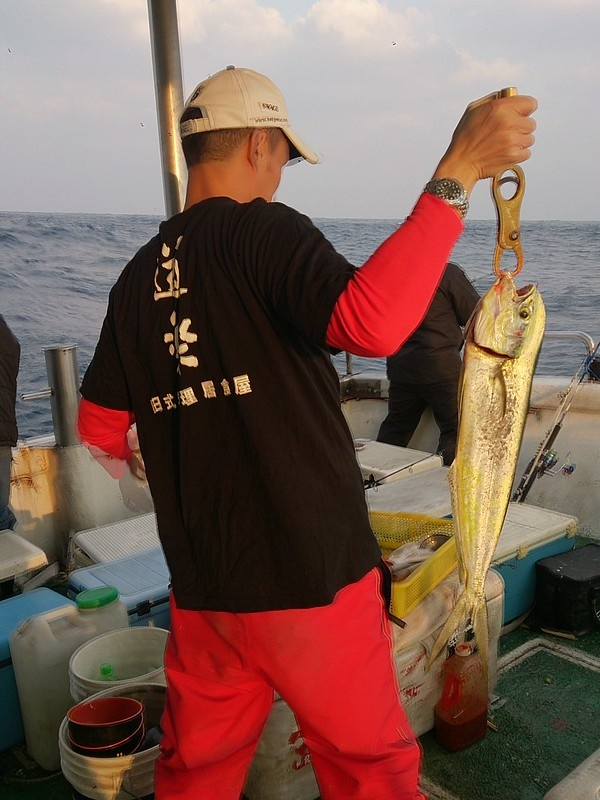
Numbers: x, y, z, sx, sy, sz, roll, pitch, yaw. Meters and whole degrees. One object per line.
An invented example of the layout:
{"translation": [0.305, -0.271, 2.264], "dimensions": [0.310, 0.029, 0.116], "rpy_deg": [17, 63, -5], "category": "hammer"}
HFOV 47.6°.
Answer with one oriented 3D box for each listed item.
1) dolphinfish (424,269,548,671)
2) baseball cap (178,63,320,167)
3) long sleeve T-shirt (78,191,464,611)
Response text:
{"translation": [0.326, 0.126, 1.297], "dimensions": [0.217, 0.632, 0.183], "rpy_deg": [15, 22, 26], "category": "dolphinfish"}
{"translation": [-0.105, -0.561, 1.435], "dimensions": [0.364, 0.190, 0.220], "rpy_deg": [-7, 23, -36], "category": "baseball cap"}
{"translation": [-0.067, 0.026, 1.283], "dimensions": [0.644, 0.811, 0.244], "rpy_deg": [14, 21, 35], "category": "long sleeve T-shirt"}
